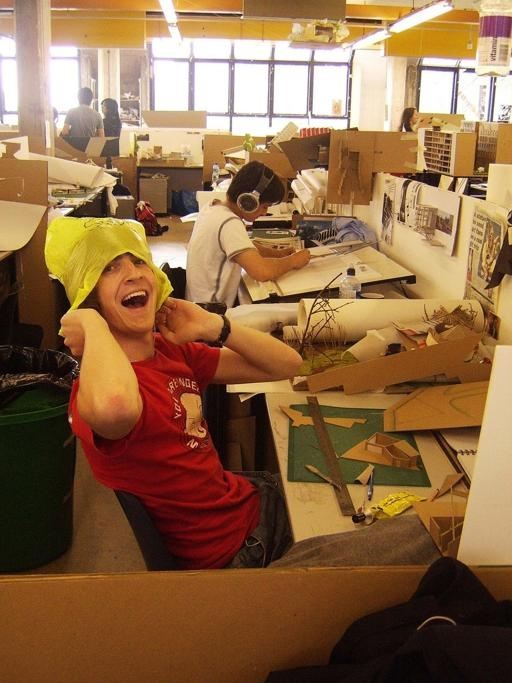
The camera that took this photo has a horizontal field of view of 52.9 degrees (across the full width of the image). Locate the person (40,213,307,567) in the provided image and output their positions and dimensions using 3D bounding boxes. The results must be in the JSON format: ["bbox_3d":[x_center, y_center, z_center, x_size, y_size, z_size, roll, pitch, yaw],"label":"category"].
[{"bbox_3d":[-0.200,0.227,1.179,0.499,0.834,0.481,3,29,-36],"label":"person"}]

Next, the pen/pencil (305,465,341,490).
[{"bbox_3d":[0.155,0.316,1.197,0.025,0.019,0.108,-47,29,-9],"label":"pen/pencil"}]

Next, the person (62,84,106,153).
[{"bbox_3d":[-2.774,-3.506,8.215,0.649,1.275,0.656,4,21,-9],"label":"person"}]

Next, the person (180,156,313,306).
[{"bbox_3d":[-0.065,-0.412,2.832,0.625,1.037,0.483,8,26,2],"label":"person"}]
